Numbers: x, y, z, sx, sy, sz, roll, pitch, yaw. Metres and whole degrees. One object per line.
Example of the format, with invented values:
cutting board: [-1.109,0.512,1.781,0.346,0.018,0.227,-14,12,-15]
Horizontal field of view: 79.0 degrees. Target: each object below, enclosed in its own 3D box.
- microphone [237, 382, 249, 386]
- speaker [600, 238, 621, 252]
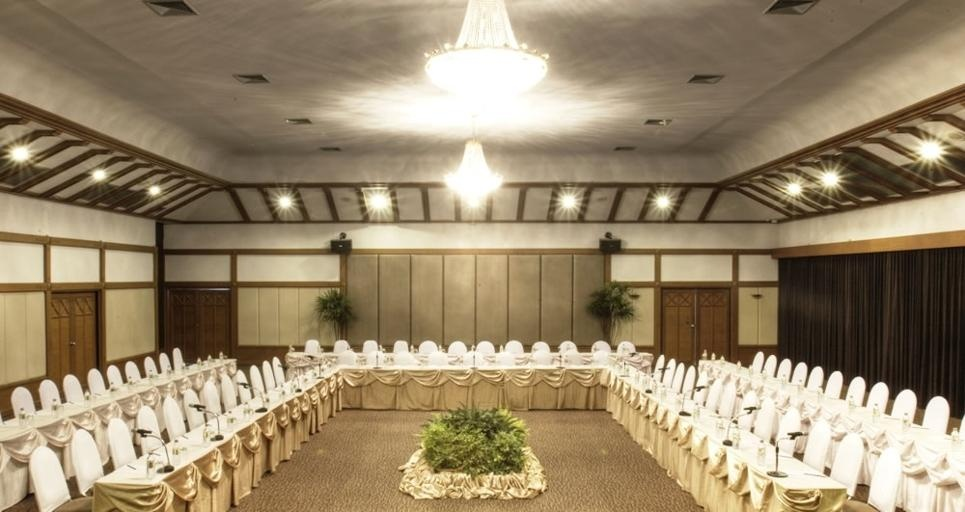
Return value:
microphone: [-6.255,3.384,15.403,0.300,0.094,0.371,2,-12,-6]
speaker: [5.021,-0.364,23.057,0.913,0.543,0.408,0,-4,3]
